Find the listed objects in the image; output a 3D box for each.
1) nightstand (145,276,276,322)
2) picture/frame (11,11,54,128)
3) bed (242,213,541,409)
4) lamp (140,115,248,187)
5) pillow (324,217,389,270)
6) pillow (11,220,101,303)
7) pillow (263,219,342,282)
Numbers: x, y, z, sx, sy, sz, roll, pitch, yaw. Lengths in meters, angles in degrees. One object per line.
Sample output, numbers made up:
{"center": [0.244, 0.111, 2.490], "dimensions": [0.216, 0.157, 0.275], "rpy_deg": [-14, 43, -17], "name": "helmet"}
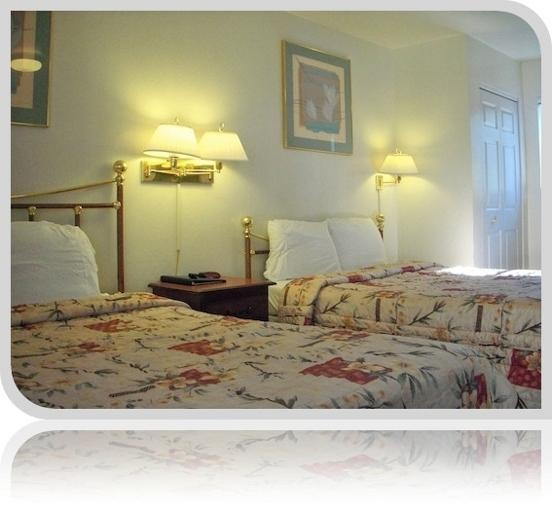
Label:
{"center": [-0.281, 0.135, 2.081], "dimensions": [0.303, 0.239, 0.307], "rpy_deg": [2, 3, 40], "name": "nightstand"}
{"center": [-0.987, -0.752, 1.886], "dimensions": [0.140, 0.456, 0.142], "rpy_deg": [2, 15, -24], "name": "picture/frame"}
{"center": [0.589, 0.177, 2.005], "dimensions": [0.989, 0.433, 0.962], "rpy_deg": [-3, 2, -43], "name": "bed"}
{"center": [-0.390, -0.496, 2.258], "dimensions": [0.262, 0.262, 0.536], "rpy_deg": [2, 4, 44], "name": "lamp"}
{"center": [0.452, -0.069, 2.705], "dimensions": [0.398, 0.220, 0.142], "rpy_deg": [3, -13, -42], "name": "pillow"}
{"center": [-0.739, 0.002, 1.548], "dimensions": [0.094, 0.274, 0.299], "rpy_deg": [-29, -19, 39], "name": "pillow"}
{"center": [0.122, -0.021, 2.426], "dimensions": [0.404, 0.235, 0.128], "rpy_deg": [3, -9, -29], "name": "pillow"}
